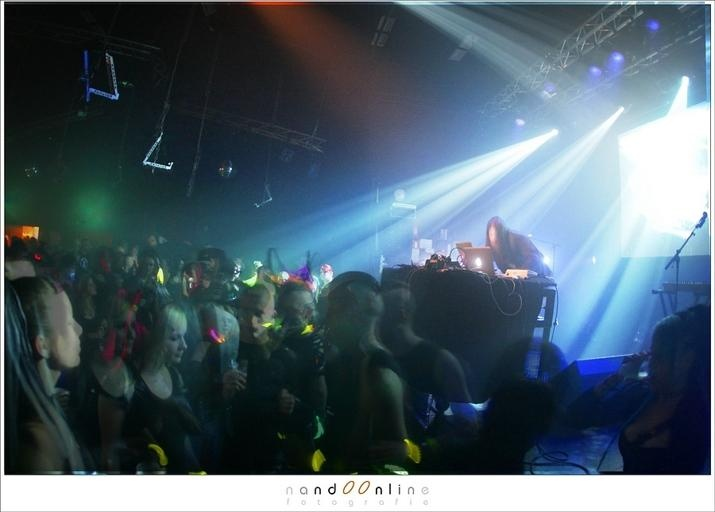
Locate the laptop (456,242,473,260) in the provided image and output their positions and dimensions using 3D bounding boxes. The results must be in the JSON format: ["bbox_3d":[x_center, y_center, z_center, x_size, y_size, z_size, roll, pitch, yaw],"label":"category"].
[{"bbox_3d":[1.594,-0.102,7.856,0.218,0.214,0.056,6,-11,-41],"label":"laptop"}]

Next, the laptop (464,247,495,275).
[{"bbox_3d":[1.747,0.036,7.541,0.354,0.355,0.474,22,-9,-37],"label":"laptop"}]
